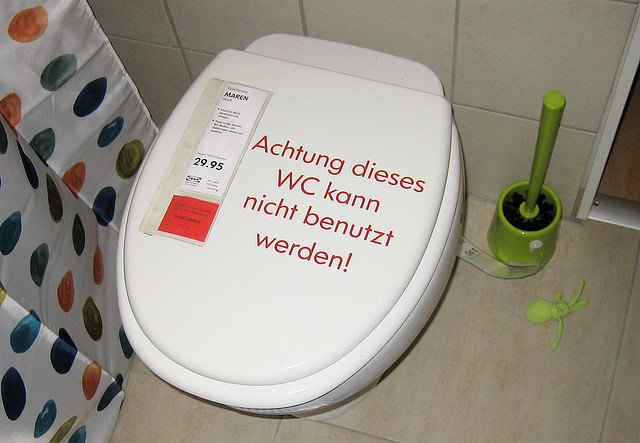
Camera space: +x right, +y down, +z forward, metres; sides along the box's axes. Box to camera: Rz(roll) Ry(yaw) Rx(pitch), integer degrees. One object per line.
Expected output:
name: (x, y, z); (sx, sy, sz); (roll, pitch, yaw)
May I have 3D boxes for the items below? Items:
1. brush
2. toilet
brush: (0.419, -0.122, 1.072); (0.098, 0.257, 0.149); (13, 53, 11)
toilet: (-0.056, 0.082, 1.190); (0.584, 0.643, 0.528); (-24, 64, -9)
